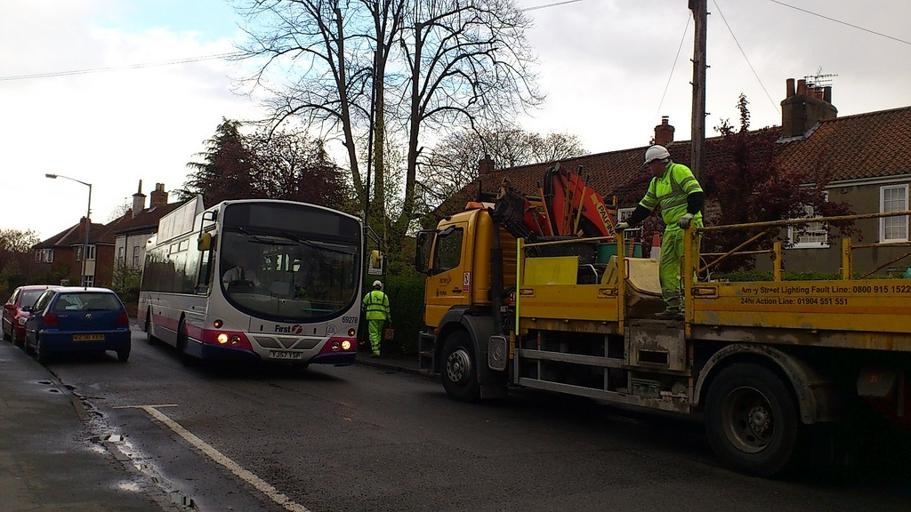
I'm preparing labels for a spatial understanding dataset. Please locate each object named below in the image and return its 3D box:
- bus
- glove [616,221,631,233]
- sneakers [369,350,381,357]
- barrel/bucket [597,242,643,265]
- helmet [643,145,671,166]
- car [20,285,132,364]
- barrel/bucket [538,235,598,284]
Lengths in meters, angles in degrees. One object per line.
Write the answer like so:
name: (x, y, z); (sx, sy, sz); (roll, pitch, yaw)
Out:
bus: (-8.160, 0.740, 20.298); (13.183, 4.521, 3.614); (-1, -7, 40)
glove: (2.957, -0.500, 11.904); (0.239, 0.106, 0.168); (4, 3, 20)
sneakers: (-2.540, 3.096, 21.325); (0.161, 0.206, 0.469); (-3, 6, -26)
barrel/bucket: (3.245, -0.079, 13.582); (0.875, 0.587, 0.527); (2, 3, 40)
helmet: (3.744, -1.892, 12.615); (0.677, 0.364, 0.483); (-1, 7, 10)
car: (-10.707, 1.931, 18.900); (2.954, 2.100, 1.710); (0, -6, 29)
barrel/bucket: (2.470, 0.139, 13.647); (0.849, 0.468, 1.149); (5, -10, -30)
